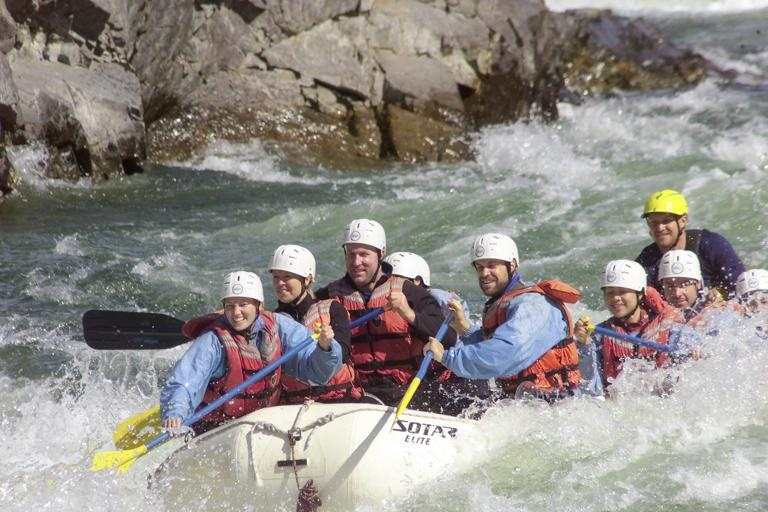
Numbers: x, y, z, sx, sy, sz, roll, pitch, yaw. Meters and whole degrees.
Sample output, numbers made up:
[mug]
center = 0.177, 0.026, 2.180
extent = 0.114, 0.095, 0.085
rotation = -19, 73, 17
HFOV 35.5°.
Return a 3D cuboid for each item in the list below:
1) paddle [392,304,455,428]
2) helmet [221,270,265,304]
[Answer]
[paddle]
center = 0.593, 1.764, 19.184
extent = 0.247, 0.099, 2.148
rotation = 19, 72, 43
[helmet]
center = -2.253, 0.498, 19.078
extent = 0.467, 0.525, 0.582
rotation = 1, -15, 1
